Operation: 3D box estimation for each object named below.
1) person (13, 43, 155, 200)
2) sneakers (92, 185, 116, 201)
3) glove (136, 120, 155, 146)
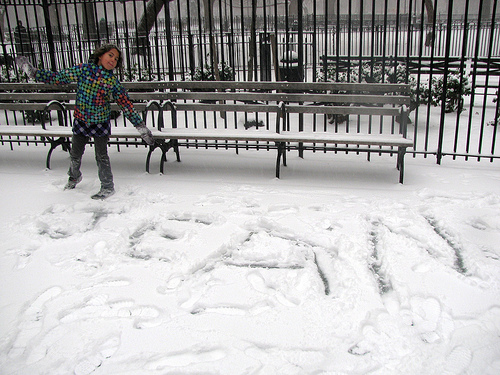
[{"bbox_3d":[-2.013,-0.836,4.683,1.433,1.835,0.610,5,16,22],"label":"person"},{"bbox_3d":[-1.844,0.078,4.628,0.305,0.131,0.111,1,-2,-35],"label":"sneakers"},{"bbox_3d":[-1.322,-0.687,4.761,0.181,0.332,0.128,-29,17,2],"label":"glove"}]
